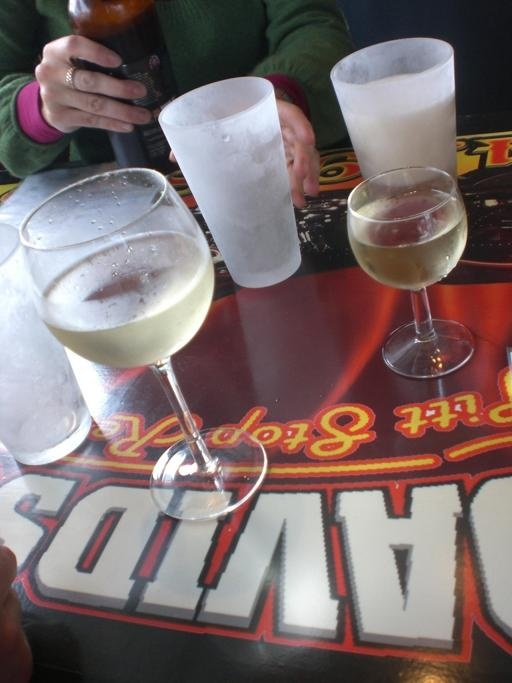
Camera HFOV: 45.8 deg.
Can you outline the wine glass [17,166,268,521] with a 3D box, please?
[{"bbox_3d":[-0.087,-0.012,0.531,0.138,0.268,0.246,-26,32,-4],"label":"wine glass"}]
